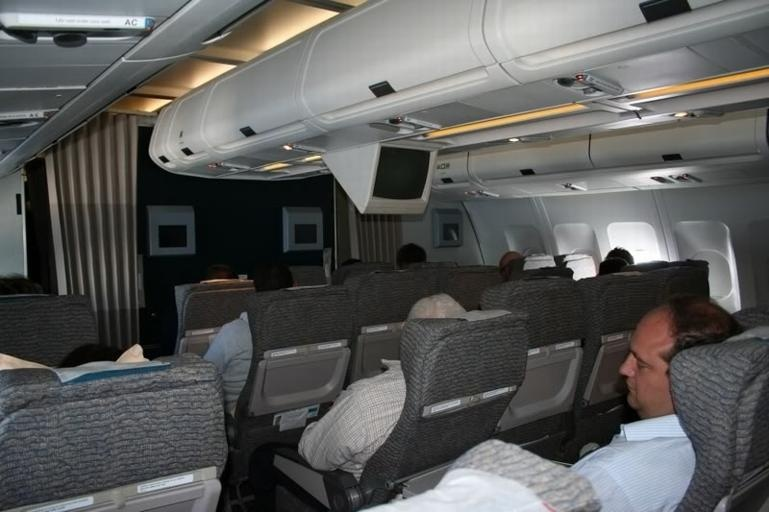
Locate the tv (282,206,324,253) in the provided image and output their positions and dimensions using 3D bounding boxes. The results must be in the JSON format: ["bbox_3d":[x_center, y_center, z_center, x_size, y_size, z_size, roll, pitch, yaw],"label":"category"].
[{"bbox_3d":[-1.136,-0.389,7.197,0.784,0.617,0.235,1,-1,31],"label":"tv"}]

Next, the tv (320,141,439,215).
[{"bbox_3d":[-0.074,-0.692,4.159,0.792,0.470,0.746,-7,19,-38],"label":"tv"}]

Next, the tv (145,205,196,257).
[{"bbox_3d":[-2.708,-0.285,6.219,0.657,0.565,0.244,-1,-1,19],"label":"tv"}]
